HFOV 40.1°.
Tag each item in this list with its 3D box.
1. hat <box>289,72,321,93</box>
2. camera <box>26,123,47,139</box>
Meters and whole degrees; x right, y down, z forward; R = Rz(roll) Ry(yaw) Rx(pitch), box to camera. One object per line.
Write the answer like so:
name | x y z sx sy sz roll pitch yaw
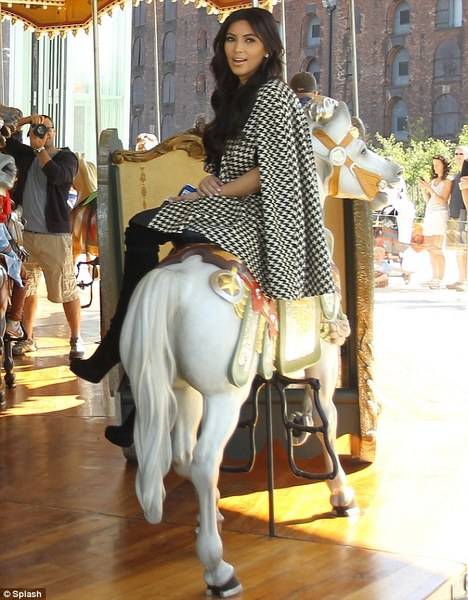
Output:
hat | 0.375 -1.164 3.424 0.124 0.083 0.155 4 41 5
camera | -1.459 -1.265 4.762 0.153 0.076 0.205 -10 27 -37
